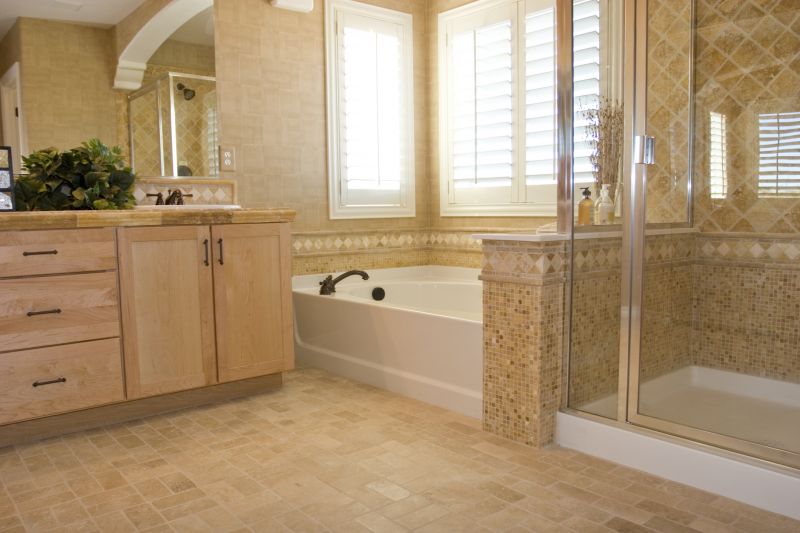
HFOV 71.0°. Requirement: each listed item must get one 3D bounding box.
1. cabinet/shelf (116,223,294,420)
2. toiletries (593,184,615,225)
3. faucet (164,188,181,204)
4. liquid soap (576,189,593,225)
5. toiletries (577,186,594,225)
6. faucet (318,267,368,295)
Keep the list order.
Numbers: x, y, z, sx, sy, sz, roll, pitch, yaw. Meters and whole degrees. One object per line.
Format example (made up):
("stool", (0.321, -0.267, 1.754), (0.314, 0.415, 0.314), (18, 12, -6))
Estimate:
("cabinet/shelf", (-1.258, 0.332, 3.504), (1.226, 1.102, 0.468), (-3, 4, -40))
("toiletries", (1.051, -0.318, 2.888), (0.038, 0.201, 0.114), (-9, 15, -31))
("faucet", (-1.614, -0.494, 3.995), (0.118, 0.100, 0.189), (-7, 13, -23))
("liquid soap", (0.988, -0.320, 2.995), (0.111, 0.201, 0.110), (6, 22, 30))
("toiletries", (0.979, -0.315, 2.965), (0.025, 0.196, 0.095), (-9, 14, -28))
("faucet", (-0.527, 0.127, 4.476), (0.532, 0.190, 0.169), (-4, -2, 36))
